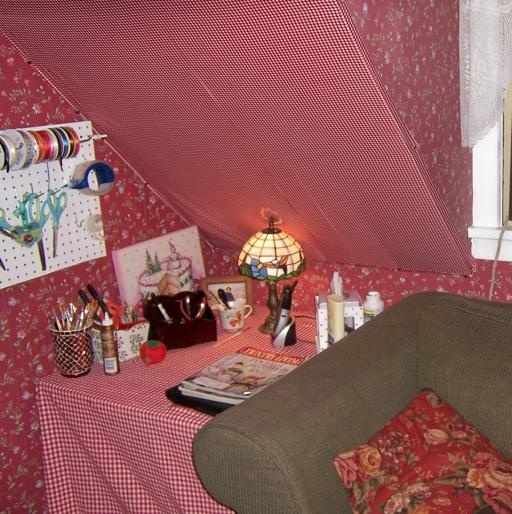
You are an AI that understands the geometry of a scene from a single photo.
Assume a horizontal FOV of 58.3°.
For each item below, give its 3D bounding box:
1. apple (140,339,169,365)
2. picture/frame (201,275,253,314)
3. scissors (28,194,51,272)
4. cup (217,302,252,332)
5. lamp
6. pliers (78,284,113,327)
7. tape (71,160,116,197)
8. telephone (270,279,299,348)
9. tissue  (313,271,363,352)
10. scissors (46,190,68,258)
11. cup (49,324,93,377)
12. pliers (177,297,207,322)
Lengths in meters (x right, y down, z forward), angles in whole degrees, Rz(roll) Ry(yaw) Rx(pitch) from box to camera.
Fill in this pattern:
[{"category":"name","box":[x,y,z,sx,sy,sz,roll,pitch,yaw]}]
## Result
[{"category":"apple","box":[-0.330,0.302,1.470,0.078,0.062,0.075,0,-1,-4]},{"category":"picture/frame","box":[-0.119,0.152,1.831,0.184,0.144,0.013,-2,3,-9]},{"category":"scissors","box":[-0.662,-0.081,1.404,0.022,0.180,0.064,11,21,35]},{"category":"cup","box":[-0.081,0.230,1.798,0.130,0.085,0.097,-5,5,-32]},{"category":"lamp","box":[0.062,0.048,1.708,0.200,0.448,0.213,-12,25,-33]},{"category":"pliers","box":[-0.505,0.183,1.470,0.116,0.158,0.086,5,24,3]},{"category":"tape","box":[-0.545,-0.268,1.526,0.129,0.113,0.083,12,23,28]},{"category":"telephone","box":[0.093,0.210,1.613,0.084,0.205,0.093,4,24,2]},{"category":"tissue ","box":[0.283,0.161,1.490,0.228,0.238,0.208,-2,14,15]},{"category":"scissors","box":[-0.627,-0.109,1.450,0.067,0.171,0.019,-7,11,-42]},{"category":"cup","box":[-0.548,0.283,1.365,0.107,0.151,0.074,15,26,31]},{"category":"pliers","box":[-0.238,0.178,1.705,0.101,0.081,0.088,-8,21,-26]}]
